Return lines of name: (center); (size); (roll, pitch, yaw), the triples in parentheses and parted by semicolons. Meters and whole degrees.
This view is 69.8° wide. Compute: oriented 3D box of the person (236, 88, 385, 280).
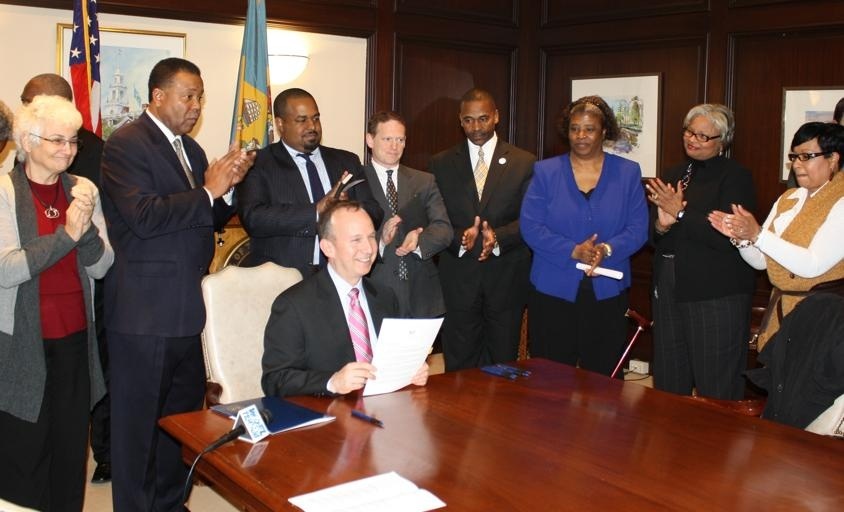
person: (-0.794, -0.095, 4.551); (0.975, 2.155, 0.768); (-10, 22, -28)

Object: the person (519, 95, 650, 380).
person: (1.198, -0.174, 4.576); (0.918, 1.999, 0.675); (6, 15, 20)

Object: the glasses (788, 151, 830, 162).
glasses: (2.567, -0.662, 4.030); (0.231, 0.072, 0.122); (11, 18, 34)

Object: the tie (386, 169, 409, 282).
tie: (-0.193, -0.197, 4.686); (0.123, 0.930, 0.106); (-8, 2, 1)

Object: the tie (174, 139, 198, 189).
tie: (-1.518, -0.598, 3.901); (0.067, 0.431, 0.051); (-13, -4, -21)

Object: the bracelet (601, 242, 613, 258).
bracelet: (1.343, -0.047, 4.401); (0.057, 0.092, 0.068); (-2, -3, -44)

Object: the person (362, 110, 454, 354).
person: (-0.175, -0.018, 4.807); (0.833, 2.116, 0.819); (-2, 15, 3)

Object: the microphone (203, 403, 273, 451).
microphone: (-0.835, 0.797, 2.779); (0.123, 0.067, 0.326); (18, 20, 38)

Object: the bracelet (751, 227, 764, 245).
bracelet: (2.231, -0.129, 4.054); (0.038, 0.103, 0.088); (30, -19, 12)

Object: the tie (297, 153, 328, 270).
tie: (-0.758, -0.356, 4.344); (0.136, 0.928, 0.123); (-12, 0, 17)

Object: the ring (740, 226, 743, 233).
ring: (2.139, -0.178, 4.068); (0.028, 0.029, 0.009); (0, 1, 8)

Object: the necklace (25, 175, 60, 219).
necklace: (-2.223, -0.350, 3.616); (0.128, 0.221, 0.055); (-14, 1, -43)

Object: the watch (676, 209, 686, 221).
watch: (1.936, -0.307, 4.545); (0.061, 0.083, 0.031); (3, -16, 2)
